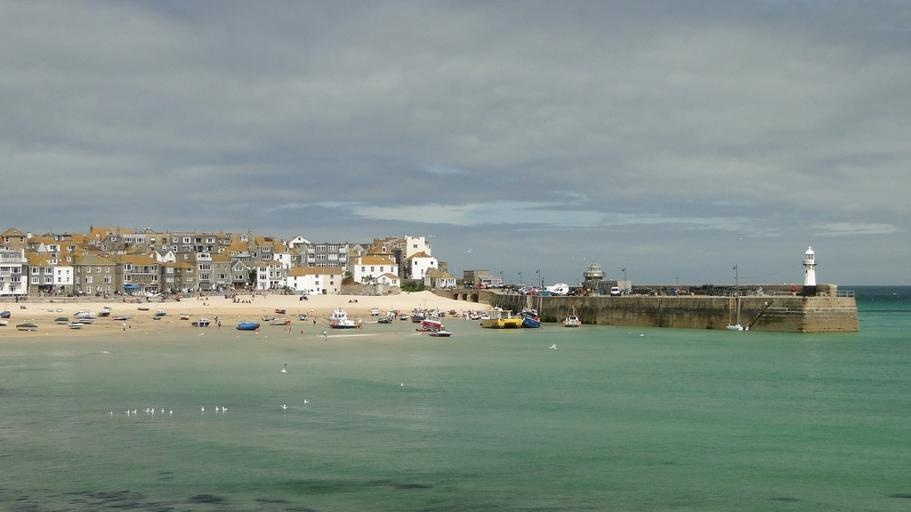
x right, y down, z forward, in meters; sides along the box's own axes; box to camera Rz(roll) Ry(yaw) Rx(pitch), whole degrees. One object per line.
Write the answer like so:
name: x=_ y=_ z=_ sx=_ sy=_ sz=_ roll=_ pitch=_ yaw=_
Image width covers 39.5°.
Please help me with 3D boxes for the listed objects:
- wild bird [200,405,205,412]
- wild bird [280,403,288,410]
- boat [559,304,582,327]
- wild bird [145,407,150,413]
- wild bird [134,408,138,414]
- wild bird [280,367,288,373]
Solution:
wild bird: x=-21.148 y=12.699 z=105.726 sx=0.215 sy=0.557 sz=0.298 roll=7 pitch=-49 yaw=-9
wild bird: x=-14.428 y=12.558 z=105.966 sx=0.607 sy=0.371 sz=1.188 roll=0 pitch=-3 yaw=-11
boat: x=14.752 y=7.595 z=163.087 sx=3.765 sy=3.029 sz=7.921 roll=0 pitch=-1 yaw=-1
wild bird: x=-25.649 y=12.808 z=105.368 sx=0.314 sy=0.244 sz=0.308 roll=-3 pitch=3 yaw=-25
wild bird: x=-26.607 y=12.851 z=105.025 sx=0.466 sy=0.312 sz=0.887 roll=1 pitch=-3 yaw=-17
wild bird: x=-15.955 y=10.528 z=117.157 sx=0.575 sy=0.247 sz=0.654 roll=-3 pitch=11 yaw=-9
